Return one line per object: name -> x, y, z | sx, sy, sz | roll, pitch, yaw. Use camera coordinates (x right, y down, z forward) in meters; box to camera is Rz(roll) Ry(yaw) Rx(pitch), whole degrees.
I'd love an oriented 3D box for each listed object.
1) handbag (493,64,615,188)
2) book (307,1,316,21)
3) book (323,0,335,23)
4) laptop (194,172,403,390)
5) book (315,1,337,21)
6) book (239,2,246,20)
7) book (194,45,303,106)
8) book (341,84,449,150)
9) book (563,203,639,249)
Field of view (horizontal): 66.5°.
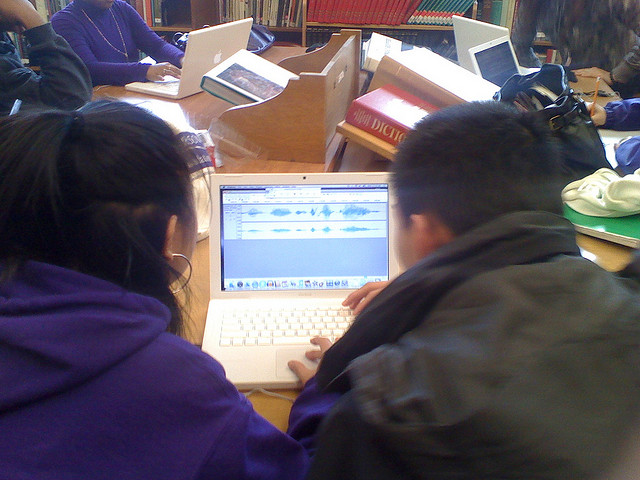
handbag -> 0.703, -0.349, 1.364 | 0.235, 0.309, 0.182 | 3, 20, -8
book -> -0.059, -1.627, 3.469 | 0.057, 0.131, 0.032 | 8, 28, 5
book -> 0.066, -1.612, 3.448 | 0.060, 0.143, 0.029 | 4, 28, -1
laptop -> -0.048, 0.043, 1.074 | 0.475, 0.291, 0.420 | -2, 37, -3
book -> 0.041, -1.616, 3.446 | 0.106, 0.107, 0.026 | 18, 5, 24
book -> -0.571, -1.693, 3.599 | 0.048, 0.109, 0.036 | 3, 28, -4
book -> -0.227, -0.597, 1.750 | 0.368, 0.072, 0.352 | 34, 44, 17
book -> 0.212, -0.376, 1.412 | 0.309, 0.070, 0.315 | 38, 44, 25
book -> 0.720, -0.043, 1.255 | 0.182, 0.057, 0.149 | 20, 32, 24
